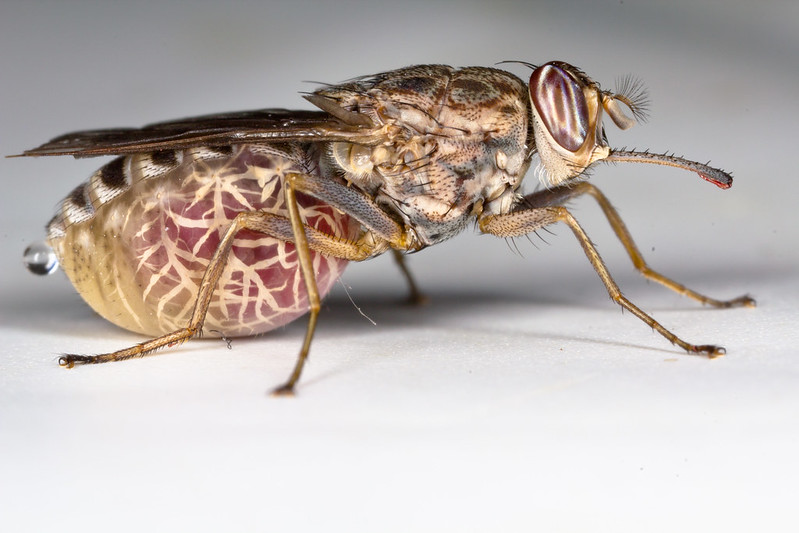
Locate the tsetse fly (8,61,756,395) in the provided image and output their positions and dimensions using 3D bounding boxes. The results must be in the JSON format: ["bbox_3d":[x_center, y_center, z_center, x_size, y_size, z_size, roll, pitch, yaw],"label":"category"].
[{"bbox_3d":[-0.084,-0.239,3.248,2.887,1.082,2.005,1,6,1],"label":"tsetse fly"}]
